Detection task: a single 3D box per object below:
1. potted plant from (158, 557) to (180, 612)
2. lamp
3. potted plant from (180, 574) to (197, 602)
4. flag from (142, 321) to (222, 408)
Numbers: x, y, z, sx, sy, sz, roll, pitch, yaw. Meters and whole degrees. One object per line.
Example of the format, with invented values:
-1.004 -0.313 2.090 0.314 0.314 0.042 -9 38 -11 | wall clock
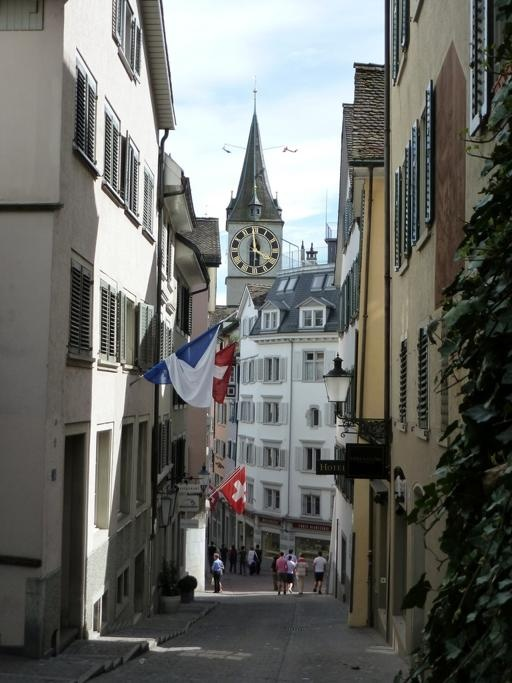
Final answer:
-1.788 5.115 21.513 0.481 1.456 0.583 -3 -8 17 | potted plant
1.405 0.985 14.940 0.815 1.937 0.807 -4 -2 -40 | lamp
-1.658 5.966 24.895 0.457 1.075 0.604 2 -10 -5 | potted plant
-1.087 0.390 16.281 0.997 1.343 0.420 1 -9 -11 | flag
